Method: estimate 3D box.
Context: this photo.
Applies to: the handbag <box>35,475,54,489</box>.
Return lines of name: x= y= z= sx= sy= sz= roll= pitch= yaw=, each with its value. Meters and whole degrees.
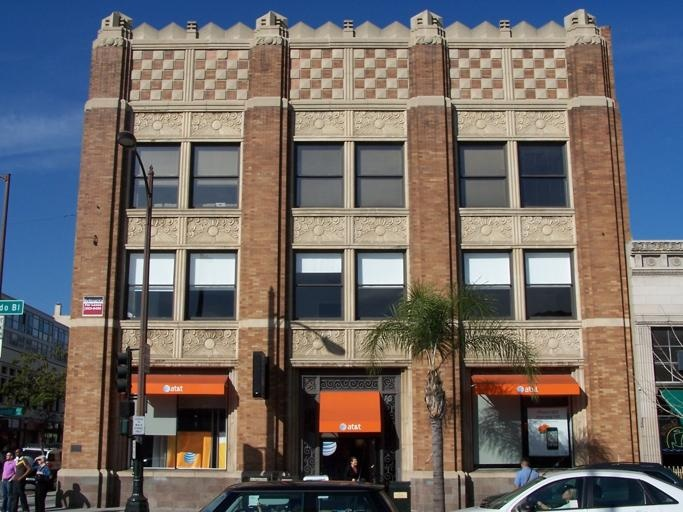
handbag: x=-10.327 y=7.856 z=28.495 sx=0.473 sy=0.577 sz=1.505 roll=4 pitch=-16 yaw=-21
